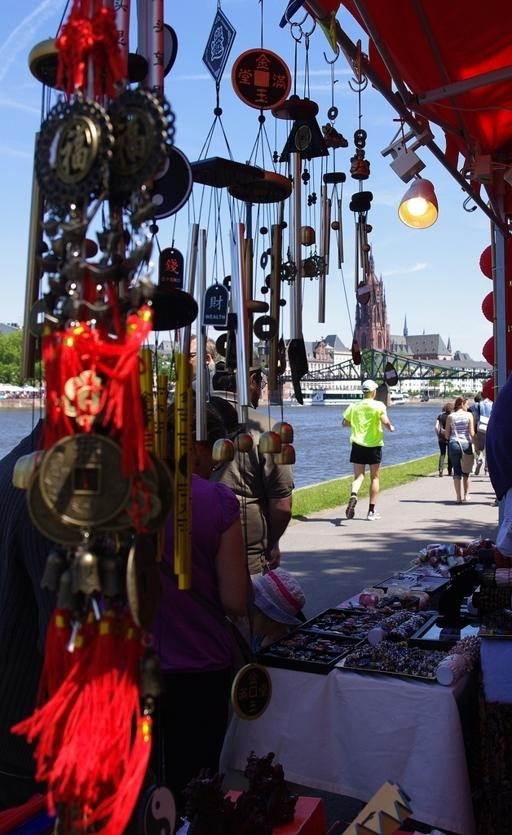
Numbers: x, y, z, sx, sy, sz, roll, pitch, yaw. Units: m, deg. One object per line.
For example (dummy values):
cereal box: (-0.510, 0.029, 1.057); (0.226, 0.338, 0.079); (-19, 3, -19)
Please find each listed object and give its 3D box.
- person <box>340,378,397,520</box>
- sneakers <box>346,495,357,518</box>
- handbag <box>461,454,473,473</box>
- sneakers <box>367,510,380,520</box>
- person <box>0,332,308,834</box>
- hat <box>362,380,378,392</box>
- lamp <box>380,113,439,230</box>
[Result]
person: (1.439, 0.408, 8.134); (0.586, 1.779, 0.815); (0, 0, 8)
sneakers: (1.223, 1.112, 7.965); (0.108, 0.339, 0.141); (6, -3, 0)
handbag: (3.124, 0.709, 9.319); (0.148, 0.325, 0.307); (0, 0, 24)
sneakers: (1.500, 1.250, 8.025); (0.156, 0.105, 0.257); (0, 0, 10)
person: (-0.257, 0.507, 1.578); (0.396, 1.042, 0.820); (0, 0, 38)
hat: (1.435, -0.394, 8.008); (0.161, 0.159, 0.530); (0, 0, 8)
lamp: (0.995, -1.682, 3.974); (0.285, 0.792, 0.181); (-12, -10, 23)
